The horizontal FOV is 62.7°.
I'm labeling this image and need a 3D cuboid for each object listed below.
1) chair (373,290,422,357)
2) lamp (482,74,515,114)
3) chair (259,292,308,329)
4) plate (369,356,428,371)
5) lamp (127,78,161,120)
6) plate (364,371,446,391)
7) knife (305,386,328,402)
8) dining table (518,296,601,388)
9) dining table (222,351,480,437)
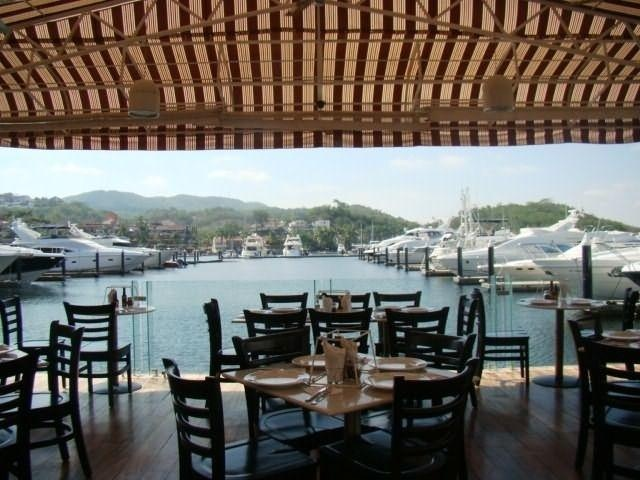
[{"bbox_3d":[0.888,1.004,6.431,0.786,0.963,0.758,1,1,6],"label":"chair"},{"bbox_3d":[1.812,-1.508,5.358,0.285,0.367,0.209,-3,-1,11],"label":"lamp"},{"bbox_3d":[-0.436,0.841,6.609,0.431,0.590,0.426,0,-12,0],"label":"chair"},{"bbox_3d":[0.557,0.890,3.777,0.261,0.029,0.233,0,0,-7],"label":"plate"},{"bbox_3d":[-1.793,-1.460,5.508,0.422,0.382,0.382,0,0,-6],"label":"lamp"},{"bbox_3d":[0.523,0.922,3.510,0.329,0.029,0.305,0,0,-31],"label":"plate"},{"bbox_3d":[-0.015,0.962,3.291,0.043,0.020,0.161,20,19,33],"label":"knife"},{"bbox_3d":[2.700,1.215,6.575,1.145,0.877,1.025,0,2,4],"label":"dining table"},{"bbox_3d":[0.002,0.958,3.461,0.918,0.397,0.885,-2,-2,45],"label":"dining table"}]
